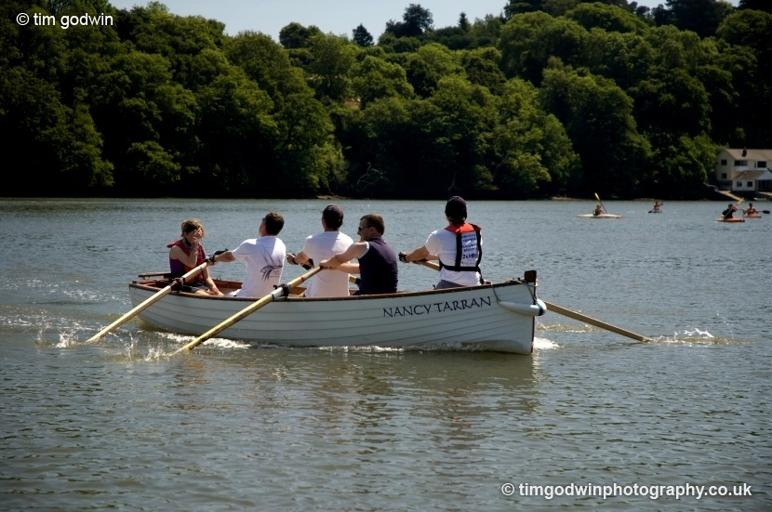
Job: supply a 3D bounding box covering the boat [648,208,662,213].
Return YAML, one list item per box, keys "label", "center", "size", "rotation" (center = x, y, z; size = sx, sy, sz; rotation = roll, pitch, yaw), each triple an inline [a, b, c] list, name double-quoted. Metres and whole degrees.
- label: "boat"
  center: [19.740, -3.239, 82.671]
  size: [0.799, 0.320, 0.971]
  rotation: [0, -2, 1]

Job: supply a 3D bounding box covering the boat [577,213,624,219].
- label: "boat"
  center: [14.346, -2.640, 75.786]
  size: [3.000, 0.344, 2.720]
  rotation: [1, 3, 0]
